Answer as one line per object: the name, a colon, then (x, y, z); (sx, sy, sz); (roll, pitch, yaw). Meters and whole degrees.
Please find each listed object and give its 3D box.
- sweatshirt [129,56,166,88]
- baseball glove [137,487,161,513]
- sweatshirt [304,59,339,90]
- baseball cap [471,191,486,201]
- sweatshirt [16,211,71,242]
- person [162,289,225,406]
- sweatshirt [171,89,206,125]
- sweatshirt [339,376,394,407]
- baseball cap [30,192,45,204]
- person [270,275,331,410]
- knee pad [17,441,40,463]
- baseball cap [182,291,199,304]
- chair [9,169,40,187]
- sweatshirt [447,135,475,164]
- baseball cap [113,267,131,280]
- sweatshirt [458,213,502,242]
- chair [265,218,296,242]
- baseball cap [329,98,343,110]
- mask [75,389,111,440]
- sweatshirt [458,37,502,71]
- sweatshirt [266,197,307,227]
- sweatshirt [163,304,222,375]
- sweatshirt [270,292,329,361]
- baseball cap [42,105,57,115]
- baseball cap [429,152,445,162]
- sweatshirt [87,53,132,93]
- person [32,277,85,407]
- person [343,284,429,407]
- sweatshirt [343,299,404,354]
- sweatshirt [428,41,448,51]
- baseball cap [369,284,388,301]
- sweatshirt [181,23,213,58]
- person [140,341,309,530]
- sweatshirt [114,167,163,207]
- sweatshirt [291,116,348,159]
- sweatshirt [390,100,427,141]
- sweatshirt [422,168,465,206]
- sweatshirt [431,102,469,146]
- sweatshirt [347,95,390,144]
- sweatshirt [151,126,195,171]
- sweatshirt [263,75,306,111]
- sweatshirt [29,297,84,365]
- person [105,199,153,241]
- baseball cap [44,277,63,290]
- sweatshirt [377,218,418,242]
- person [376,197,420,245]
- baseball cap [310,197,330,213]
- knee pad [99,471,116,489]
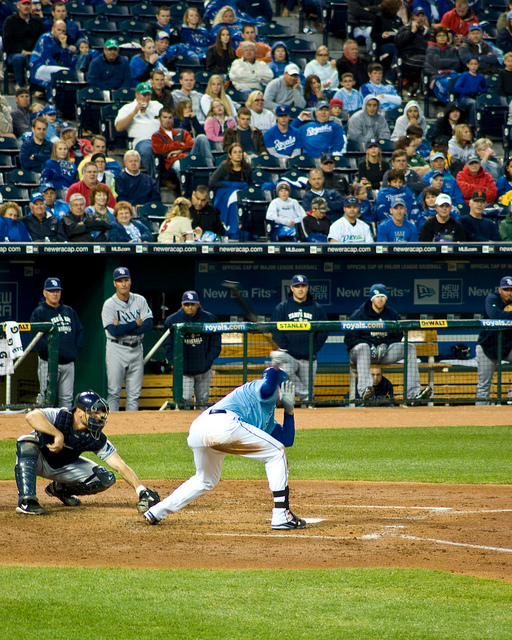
sweatshirt: (-1.551, -3.593, 23.635); (0.506, 0.459, 0.551); (1, 8, -5)
baseball glove: (-0.890, 1.537, 13.713); (0.126, 0.233, 0.105); (20, -3, 7)
sweatshirt: (1.001, -3.676, 24.512); (0.593, 0.627, 0.333); (-2, 1, -33)
baseball cap: (2.886, -1.595, 21.100); (0.143, 0.116, 0.223); (13, -18, 4)
sweatshirt: (-2.510, -1.086, 19.473); (0.509, 0.306, 0.474); (-3, 9, -32)
person: (-0.710, 0.506, 19.270); (0.623, 1.819, 0.486); (-4, 25, -6)
sweatshirt: (-0.903, -2.901, 22.354); (0.524, 0.573, 0.323); (1, -23, -18)
sweatshirt: (1.366, 0.882, 19.595); (0.600, 0.393, 0.176); (3, 8, 5)
baseball cap: (-2.575, -1.454, 19.404); (0.146, 0.124, 0.256); (1, -5, -6)
person: (0.528, 0.355, 19.467); (0.653, 1.762, 0.593); (1, 13, -2)
knee pad: (-1.897, 1.134, 13.769); (0.183, 0.161, 0.152); (1, 8, -9)
baseball cap: (-0.750, -0.245, 19.205); (0.156, 0.148, 0.247); (1, 3, -1)
chair: (-2.911, -1.796, 20.778); (0.372, 0.206, 0.175); (1, 8, -9)
sweatshirt: (2.821, -2.345, 22.639); (0.324, 0.169, 0.394); (9, -7, 8)
baseball cap: (-1.540, -0.527, 19.009); (0.168, 0.137, 0.347); (1, 8, -5)
sweatshirt: (2.905, -1.166, 20.941); (0.558, 0.322, 0.450); (1, 8, -10)
chair: (0.317, -1.110, 20.790); (0.274, 0.395, 0.301); (4, -7, -20)
baseball cap: (1.171, -3.125, 23.587); (0.191, 0.167, 0.153); (0, 4, 2)
mask: (-1.370, 0.816, 13.693); (0.318, 0.391, 0.287); (11, 2, 29)
sweatshirt: (3.526, -4.234, 25.875); (0.567, 0.516, 1.505); (5, 8, 19)
sweatshirt: (0.441, -1.366, 20.697); (0.533, 0.348, 0.324); (-2, 9, -26)
sweatshirt: (-0.724, 0.309, 19.297); (0.708, 0.973, 0.444); (-1, -20, -5)
sweatshirt: (0.516, 0.119, 19.043); (0.668, 0.838, 0.350); (3, -34, -10)
baseball cap: (-2.717, -2.805, 21.775); (0.172, 0.158, 0.264); (8, 7, -12)
baseball cap: (2.451, -2.188, 21.949); (0.177, 0.097, 0.278); (1, 0, 0)
sweatshirt: (-2.068, -3.558, 23.407); (0.687, 0.769, 0.523); (-6, 12, -27)
person: (-2.278, 0.317, 19.081); (0.640, 1.575, 0.716); (-1, 8, -20)
person: (1.518, 0.279, 19.414); (0.828, 1.626, 1.155); (0, -4, -7)
sweatshirt: (1.373, 0.146, 19.644); (0.780, 0.833, 0.533); (1, -9, -12)
sweatshirt: (2.835, -4.305, 25.545); (0.339, 0.119, 0.236); (7, 9, 29)
baseball cap: (1.469, -0.331, 19.531); (0.150, 0.201, 0.216); (6, -13, -15)
sweatshirt: (-0.874, -4.324, 25.216); (0.160, 0.580, 0.540); (-14, 8, 38)
person: (-0.069, 0.951, 13.086); (1.350, 1.558, 0.929); (5, -5, -30)
sweatshirt: (-1.508, -1.664, 20.915); (0.771, 0.580, 0.376); (-6, -5, -44)
sweatshirt: (0.898, -2.586, 22.961); (1.023, 0.465, 0.935); (-1, 1, -23)
sweatshirt: (2.222, -2.879, 23.624); (0.442, 0.708, 0.591); (0, 12, -7)
sweatshirt: (2.512, -1.786, 21.955); (0.516, 0.450, 0.550); (0, 8, -14)
sweatshirt: (2.796, -2.938, 23.805); (0.523, 0.512, 0.832); (17, 11, 29)
sweatshirt: (1.644, -2.725, 23.362); (0.602, 1.029, 0.576); (1, -1, -8)
sweatshirt: (-1.085, -2.338, 21.578); (0.394, 0.586, 0.217); (0, -22, -9)
sweatshirt: (0.429, -3.241, 23.427); (0.690, 0.659, 0.427); (-3, 8, -33)
sweatshirt: (-2.322, 0.165, 19.006); (0.361, 0.887, 0.649); (-17, -14, 33)
person: (-1.531, -1.202, 20.018); (0.417, 0.496, 0.873); (6, 9, 26)
baseball cap: (-2.337, -0.428, 18.914); (0.150, 0.142, 0.252); (1, -5, -17)
sweatshirt: (1.814, -1.098, 20.613); (0.517, 0.465, 0.268); (0, -4, -13)
person: (1.812, -1.101, 20.599); (0.502, 0.869, 0.454); (3, -2, 12)
baseball cap: (0.826, -1.450, 20.602); (0.194, 0.184, 0.151); (3, -1, 30)
knee pad: (-1.242, 1.386, 14.021); (0.102, 0.154, 0.140); (3, 7, 37)
